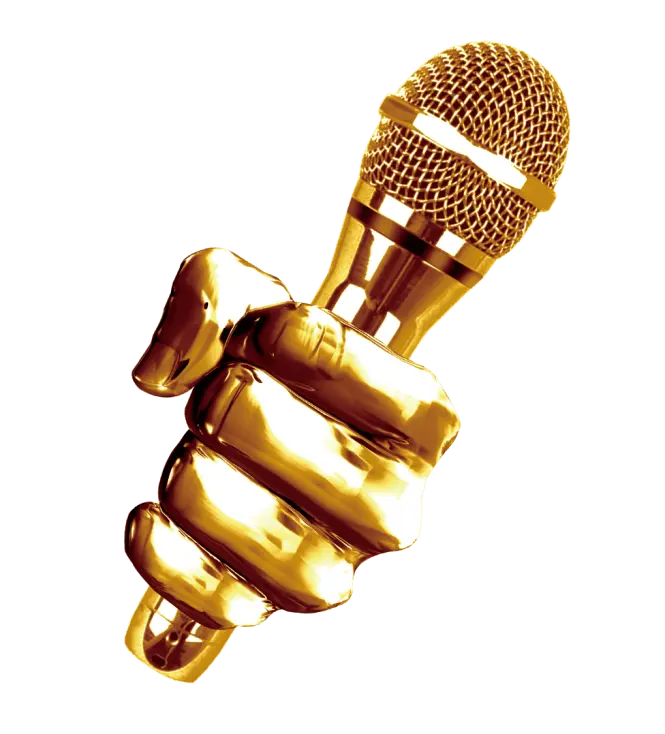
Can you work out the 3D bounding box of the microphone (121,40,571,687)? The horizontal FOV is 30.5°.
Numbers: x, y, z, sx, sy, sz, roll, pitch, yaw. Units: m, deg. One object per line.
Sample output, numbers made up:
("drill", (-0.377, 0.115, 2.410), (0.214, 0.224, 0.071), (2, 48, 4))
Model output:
("microphone", (-0.015, -0.010, 1.335), (0.327, 0.200, 0.683), (34, 97, -5))
